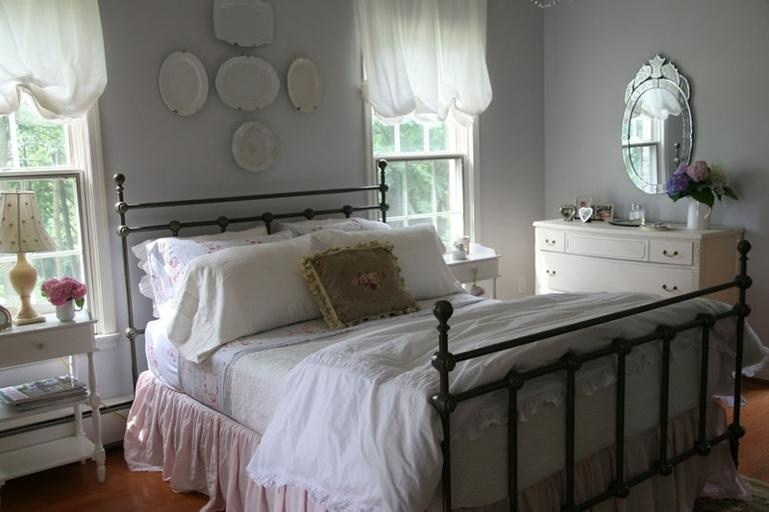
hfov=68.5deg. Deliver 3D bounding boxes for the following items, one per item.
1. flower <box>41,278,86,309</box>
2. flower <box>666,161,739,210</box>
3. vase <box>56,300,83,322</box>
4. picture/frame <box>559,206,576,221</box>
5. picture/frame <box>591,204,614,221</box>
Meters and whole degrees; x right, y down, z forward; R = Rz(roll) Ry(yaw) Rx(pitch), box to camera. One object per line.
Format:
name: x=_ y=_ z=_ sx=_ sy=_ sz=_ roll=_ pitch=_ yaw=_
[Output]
flower: x=-1.832 y=0.175 z=3.186 sx=0.201 sy=0.148 sz=0.176 roll=14 pitch=13 yaw=31
flower: x=2.429 y=-0.560 z=4.338 sx=0.443 sy=0.303 sz=0.481 roll=-12 pitch=-10 yaw=35
vase: x=-1.829 y=0.303 z=3.236 sx=0.140 sy=0.144 sz=0.086 roll=2 pitch=1 yaw=-38
picture/frame: x=1.625 y=-0.383 z=5.025 sx=0.141 sy=0.133 sz=0.148 roll=8 pitch=6 yaw=44
picture/frame: x=1.905 y=-0.380 z=4.927 sx=0.142 sy=0.146 sz=0.013 roll=9 pitch=-5 yaw=34
